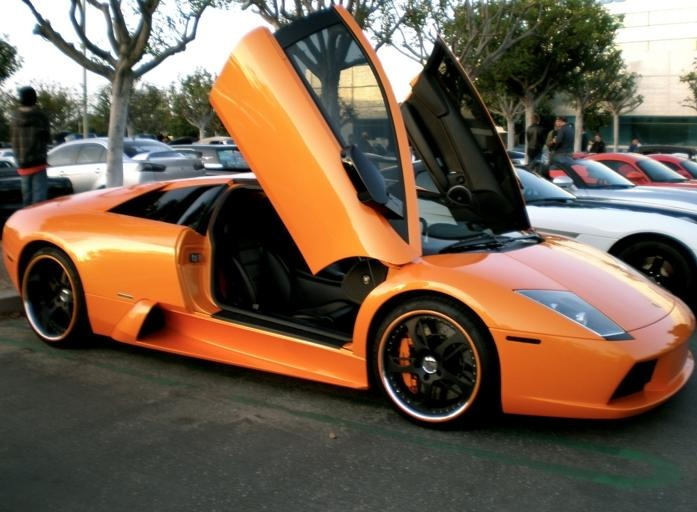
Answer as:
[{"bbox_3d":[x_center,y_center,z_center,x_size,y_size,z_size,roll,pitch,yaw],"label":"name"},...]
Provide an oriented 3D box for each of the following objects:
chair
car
[{"bbox_3d":[-0.424,0.117,4.548,1.466,1.020,0.927,1,4,14],"label":"chair"},{"bbox_3d":[-0.412,-0.409,4.650,5.895,2.248,2.637,5,11,19],"label":"car"}]
